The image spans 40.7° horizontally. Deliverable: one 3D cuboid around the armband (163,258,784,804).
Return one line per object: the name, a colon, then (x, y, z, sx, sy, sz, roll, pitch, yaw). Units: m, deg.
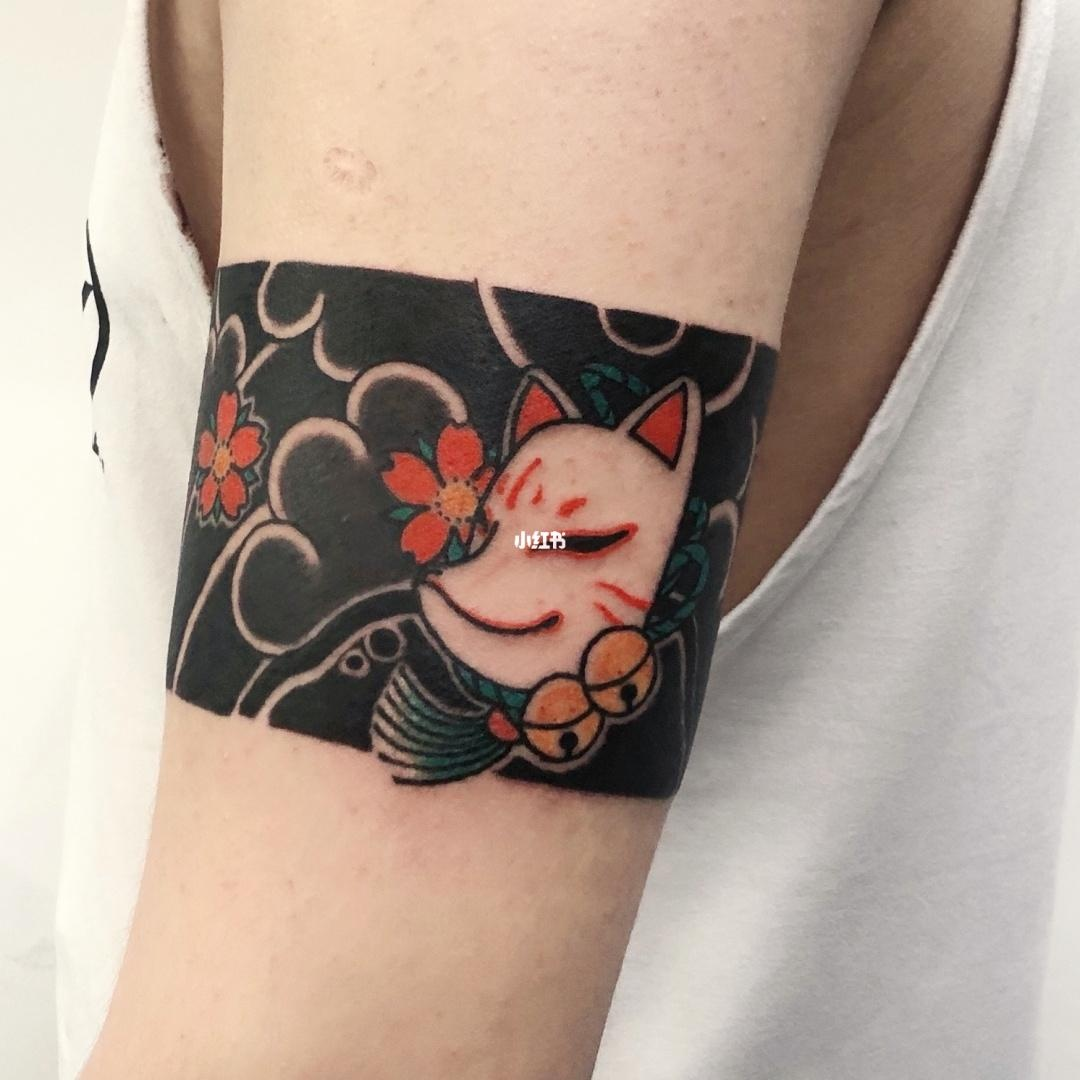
armband: (-0.037, -0.009, 0.832, 0.318, 0.271, 0.140, 10, 7, -12)
